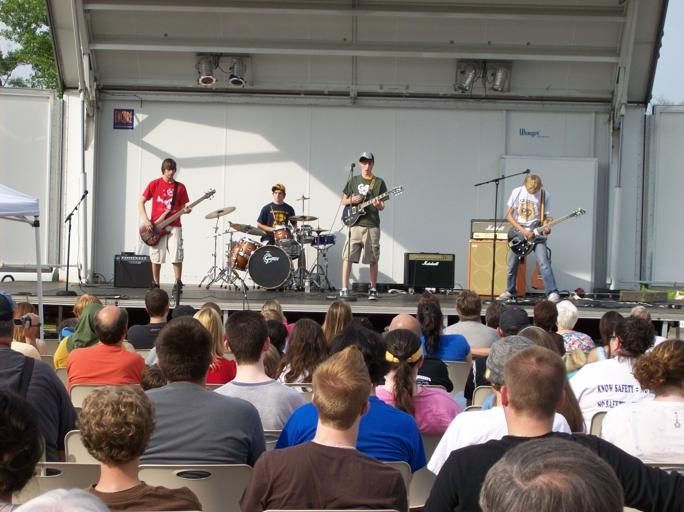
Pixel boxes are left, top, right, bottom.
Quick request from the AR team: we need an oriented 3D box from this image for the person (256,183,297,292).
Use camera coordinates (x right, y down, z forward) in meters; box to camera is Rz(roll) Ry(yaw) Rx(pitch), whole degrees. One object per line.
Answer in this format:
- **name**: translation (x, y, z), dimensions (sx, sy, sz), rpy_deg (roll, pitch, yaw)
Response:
- **person**: translation (-0.995, -0.620, 18.184), dimensions (0.573, 1.037, 0.554), rpy_deg (4, -3, -24)

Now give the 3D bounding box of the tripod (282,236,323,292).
- **tripod**: translation (-0.656, 0.132, 17.732), dimensions (0.654, 0.790, 0.732), rpy_deg (-3, 9, 6)

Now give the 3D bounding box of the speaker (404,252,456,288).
- **speaker**: translation (1.334, 0.257, 17.914), dimensions (0.738, 0.586, 0.502), rpy_deg (1, -1, -2)

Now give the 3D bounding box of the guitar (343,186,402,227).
- **guitar**: translation (0.376, -0.659, 16.171), dimensions (0.709, 0.620, 0.579), rpy_deg (-3, 11, -38)

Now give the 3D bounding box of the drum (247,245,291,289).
- **drum**: translation (-1.090, 0.149, 16.991), dimensions (0.468, 0.509, 0.190), rpy_deg (-19, -1, 2)

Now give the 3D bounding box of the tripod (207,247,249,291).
- **tripod**: translation (-1.803, 0.205, 18.223), dimensions (0.601, 0.951, 0.635), rpy_deg (1, -5, 1)

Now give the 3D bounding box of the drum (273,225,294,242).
- **drum**: translation (-0.923, -0.313, 17.538), dimensions (0.228, 0.187, 0.241), rpy_deg (1, -9, 0)

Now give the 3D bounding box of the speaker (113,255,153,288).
- **speaker**: translation (-3.249, 0.242, 17.951), dimensions (0.696, 0.744, 0.461), rpy_deg (1, -1, -8)

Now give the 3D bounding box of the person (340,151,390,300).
- **person**: translation (0.291, -0.420, 16.220), dimensions (0.782, 2.062, 0.542), rpy_deg (3, 3, 33)

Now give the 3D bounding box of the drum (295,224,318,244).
- **drum**: translation (-0.586, -0.328, 17.748), dimensions (0.288, 0.238, 0.296), rpy_deg (2, 3, 31)

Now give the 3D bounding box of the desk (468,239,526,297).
- **desk**: translation (2.266, 0.204, 17.745), dimensions (0.824, 0.959, 0.683), rpy_deg (2, 10, -3)

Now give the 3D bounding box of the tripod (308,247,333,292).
- **tripod**: translation (-0.357, 0.221, 18.590), dimensions (0.545, 0.759, 0.556), rpy_deg (-1, 7, 7)

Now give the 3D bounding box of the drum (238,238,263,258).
- **drum**: translation (-1.425, -0.120, 17.323), dimensions (0.264, 0.270, 0.277), rpy_deg (17, -12, 16)
